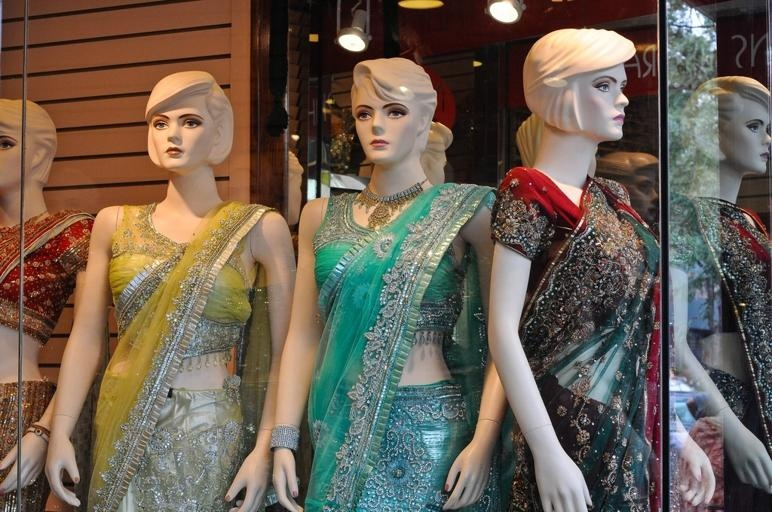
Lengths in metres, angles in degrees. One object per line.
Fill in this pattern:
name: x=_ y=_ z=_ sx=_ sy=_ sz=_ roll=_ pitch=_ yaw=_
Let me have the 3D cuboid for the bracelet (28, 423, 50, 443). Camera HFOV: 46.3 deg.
bracelet: x=-1.221 y=0.624 z=3.185 sx=0.056 sy=0.041 sz=0.067 roll=23 pitch=-15 yaw=-21

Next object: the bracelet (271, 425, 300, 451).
bracelet: x=-0.349 y=0.629 z=3.111 sx=0.079 sy=0.068 sz=0.085 roll=5 pitch=-22 yaw=-9
